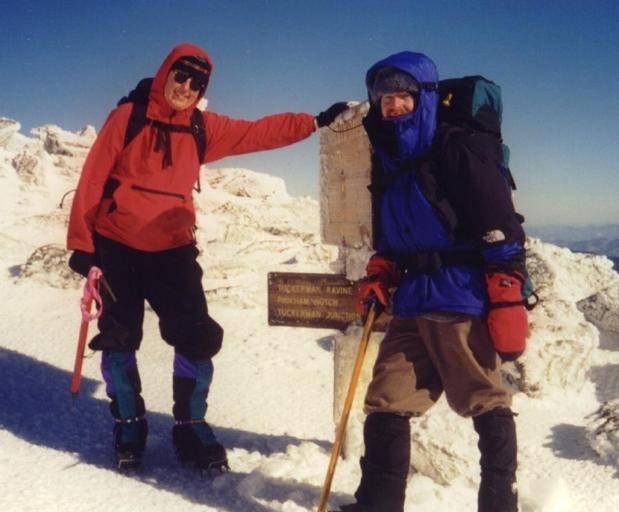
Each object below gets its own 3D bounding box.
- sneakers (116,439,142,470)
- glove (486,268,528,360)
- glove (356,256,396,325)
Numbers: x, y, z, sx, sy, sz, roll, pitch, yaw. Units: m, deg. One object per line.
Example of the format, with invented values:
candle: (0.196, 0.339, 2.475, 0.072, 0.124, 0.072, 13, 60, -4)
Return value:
sneakers: (-1.282, 1.415, 4.780, 0.193, 0.140, 0.191, 1, 11, -18)
glove: (1.209, 0.347, 4.014, 0.276, 0.492, 0.167, 1, -3, -39)
glove: (0.434, 0.230, 4.446, 0.253, 0.415, 0.159, 9, -19, 31)
